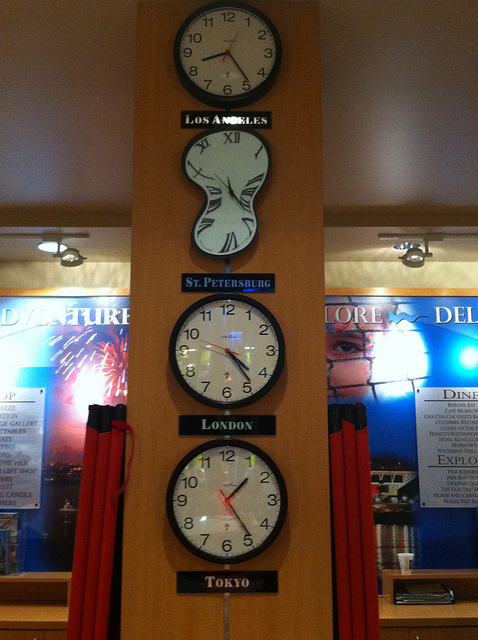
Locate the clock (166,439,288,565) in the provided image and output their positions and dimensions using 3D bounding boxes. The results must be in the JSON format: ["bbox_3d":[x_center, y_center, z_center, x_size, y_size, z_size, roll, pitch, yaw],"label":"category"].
[{"bbox_3d":[-0.041,0.598,2.009,0.353,0.344,0.036,10,-5,19],"label":"clock"}]

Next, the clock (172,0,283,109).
[{"bbox_3d":[-0.041,-0.954,2.228,0.347,0.353,0.133,3,-14,-19],"label":"clock"}]

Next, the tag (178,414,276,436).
[{"bbox_3d":[-0.040,0.348,2.080,0.314,0.071,0.021,-1,-14,-4],"label":"tag"}]

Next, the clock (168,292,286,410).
[{"bbox_3d":[-0.043,0.104,2.090,0.404,0.385,0.035,1,2,-15],"label":"clock"}]

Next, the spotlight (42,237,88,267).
[{"bbox_3d":[-1.108,-0.433,4.065,0.284,0.177,0.145,-5,-16,-3],"label":"spotlight"}]

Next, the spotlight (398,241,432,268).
[{"bbox_3d":[1.172,-0.429,4.109,0.216,0.164,0.175,7,-16,-33],"label":"spotlight"}]

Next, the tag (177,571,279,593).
[{"bbox_3d":[-0.040,0.832,2.004,0.316,0.068,0.013,-1,-14,0],"label":"tag"}]
